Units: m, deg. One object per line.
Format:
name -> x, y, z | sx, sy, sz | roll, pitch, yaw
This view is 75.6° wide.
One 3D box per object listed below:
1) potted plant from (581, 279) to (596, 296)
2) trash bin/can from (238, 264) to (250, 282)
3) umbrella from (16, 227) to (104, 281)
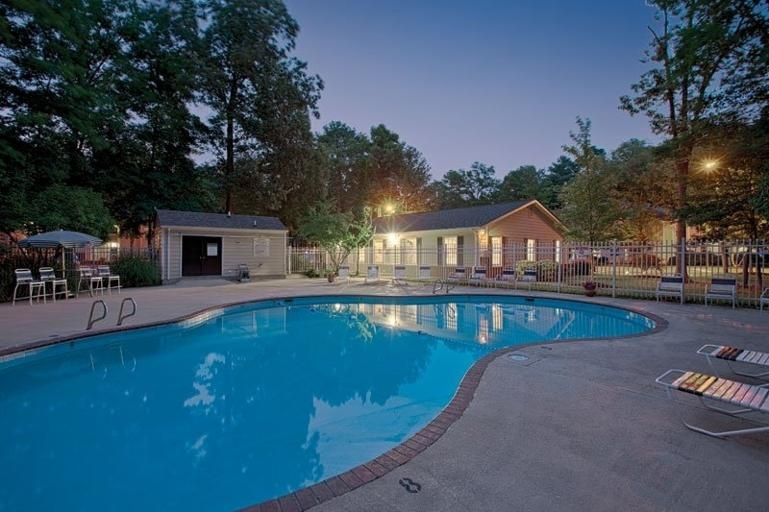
potted plant -> 9.583, 1.549, 23.269 | 0.669, 0.692, 0.691 | -1, 0, 32
trash bin/can -> -8.429, 1.071, 29.637 | 0.672, 0.954, 0.917 | 1, -6, -31
umbrella -> -13.898, 0.129, 21.956 | 2.461, 1.696, 2.403 | 0, -6, -2
